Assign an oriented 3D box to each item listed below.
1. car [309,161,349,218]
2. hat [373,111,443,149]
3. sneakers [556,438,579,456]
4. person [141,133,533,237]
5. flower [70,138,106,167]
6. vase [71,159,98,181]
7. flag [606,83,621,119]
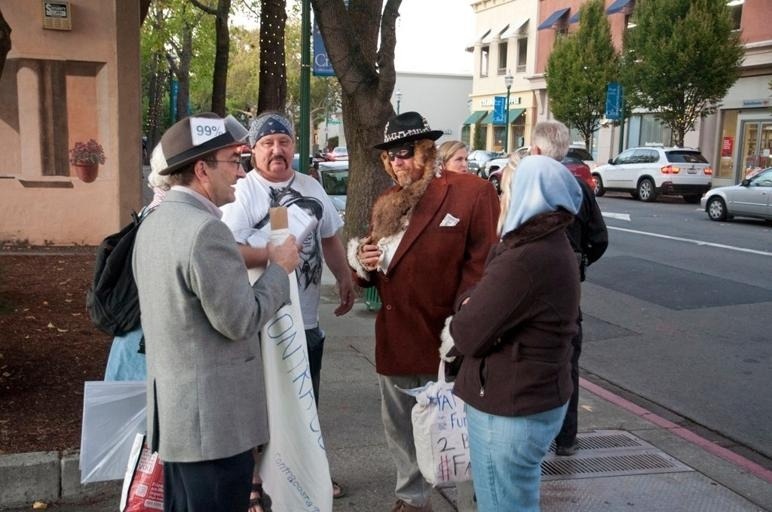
[{"bbox_3d":[-1.115,-1.511,13.527,0.871,0.873,1.617,-2,6,-13],"label":"car"},{"bbox_3d":[0.162,-0.967,4.853,0.553,0.224,0.488,-13,11,-26],"label":"hat"},{"bbox_3d":[1.565,1.663,5.581,0.088,0.107,0.229,-9,6,40],"label":"sneakers"},{"bbox_3d":[-0.432,-0.597,5.514,3.202,0.686,1.347,1,1,12],"label":"person"},{"bbox_3d":[-4.989,-1.708,10.778,0.489,0.347,0.487,-3,5,-20],"label":"flower"},{"bbox_3d":[-5.039,-1.430,10.768,0.326,0.254,0.333,7,10,29],"label":"vase"},{"bbox_3d":[10.329,-7.020,29.223,0.635,1.568,0.511,3,12,20],"label":"flag"}]
